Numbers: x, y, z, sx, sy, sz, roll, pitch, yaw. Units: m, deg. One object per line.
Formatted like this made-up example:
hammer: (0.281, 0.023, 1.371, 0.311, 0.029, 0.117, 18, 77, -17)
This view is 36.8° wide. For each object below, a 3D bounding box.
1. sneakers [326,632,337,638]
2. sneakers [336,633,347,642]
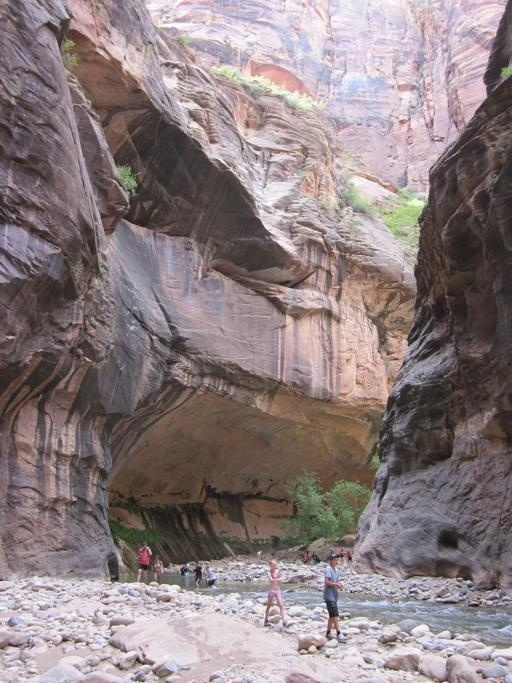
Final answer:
sneakers: (1.066, 4.181, 10.971, 0.164, 0.088, 0.071, 4, -11, -8)
sneakers: (1.198, 4.170, 10.889, 0.124, 0.131, 0.277, -2, -13, -1)
